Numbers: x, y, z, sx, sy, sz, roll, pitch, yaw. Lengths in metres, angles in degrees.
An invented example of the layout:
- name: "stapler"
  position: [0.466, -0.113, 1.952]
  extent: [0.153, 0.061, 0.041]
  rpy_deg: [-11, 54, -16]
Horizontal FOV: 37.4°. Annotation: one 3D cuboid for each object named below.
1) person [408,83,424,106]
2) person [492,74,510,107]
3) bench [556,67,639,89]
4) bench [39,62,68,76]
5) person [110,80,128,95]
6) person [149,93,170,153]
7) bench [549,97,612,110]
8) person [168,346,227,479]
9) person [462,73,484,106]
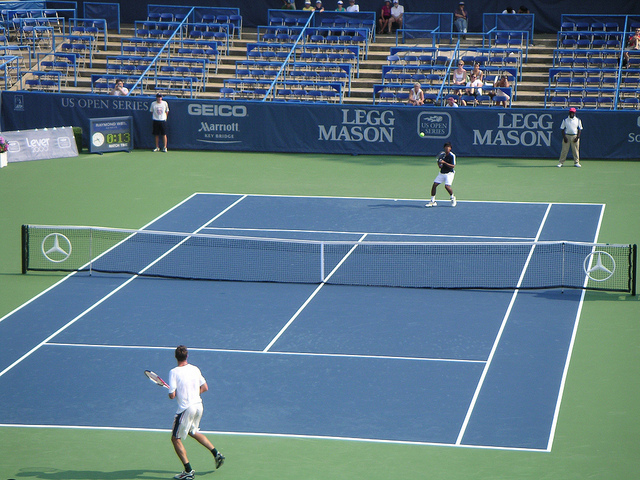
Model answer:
- name: "person"
  position: [3.463, -5.255, 34.306]
  extent: [0.498, 0.968, 0.742]
  rpy_deg: [0, 9, 4]
- name: "person"
  position: [6.736, -5.515, 35.256]
  extent: [0.619, 1.081, 1.073]
  rpy_deg: [4, 10, 10]
- name: "bench"
  position: [10.908, -6.410, 37.310]
  extent: [3.172, 0.796, 1.621]
  rpy_deg: [6, 11, 15]
- name: "bench"
  position: [-10.997, -7.087, 38.990]
  extent: [0.890, 0.259, 0.931]
  rpy_deg: [4, 25, 6]
- name: "person"
  position: [-7.489, -5.629, 35.095]
  extent: [0.613, 0.530, 0.736]
  rpy_deg: [1, 11, -10]
- name: "person"
  position: [-5.639, -4.078, 33.221]
  extent: [0.619, 2.085, 1.189]
  rpy_deg: [1, 10, -7]
- name: "bench"
  position: [9.968, -5.225, 36.141]
  extent: [2.316, 0.487, 1.062]
  rpy_deg: [5, 11, 10]
- name: "person"
  position: [-2.058, 2.655, 15.231]
  extent: [0.783, 2.097, 1.245]
  rpy_deg: [0, 10, -10]
- name: "person"
  position: [5.733, -5.613, 35.561]
  extent: [0.699, 1.132, 0.965]
  rpy_deg: [4, 10, 12]
